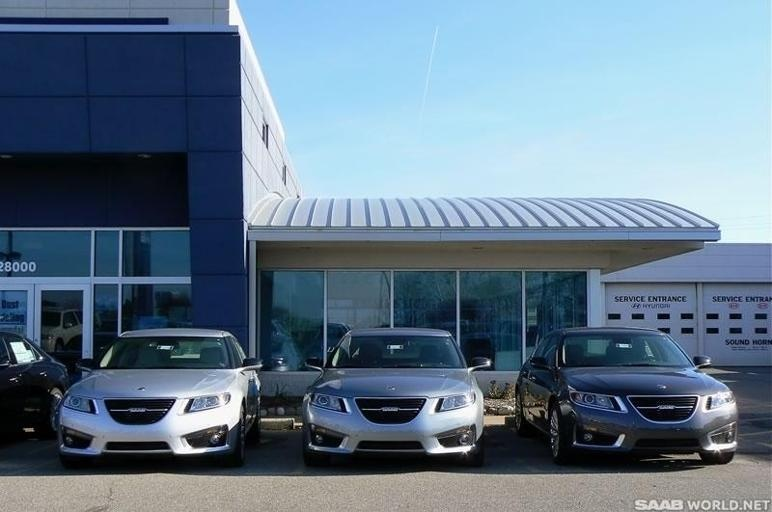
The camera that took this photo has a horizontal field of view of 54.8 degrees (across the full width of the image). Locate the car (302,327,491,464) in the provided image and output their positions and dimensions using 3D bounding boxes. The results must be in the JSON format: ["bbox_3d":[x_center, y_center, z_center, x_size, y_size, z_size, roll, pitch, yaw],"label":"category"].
[{"bbox_3d":[0.087,2.469,12.707,3.019,2.034,2.209,0,1,-9],"label":"car"}]

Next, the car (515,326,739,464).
[{"bbox_3d":[4.229,2.448,13.306,2.894,2.112,3.042,0,1,-7],"label":"car"}]
